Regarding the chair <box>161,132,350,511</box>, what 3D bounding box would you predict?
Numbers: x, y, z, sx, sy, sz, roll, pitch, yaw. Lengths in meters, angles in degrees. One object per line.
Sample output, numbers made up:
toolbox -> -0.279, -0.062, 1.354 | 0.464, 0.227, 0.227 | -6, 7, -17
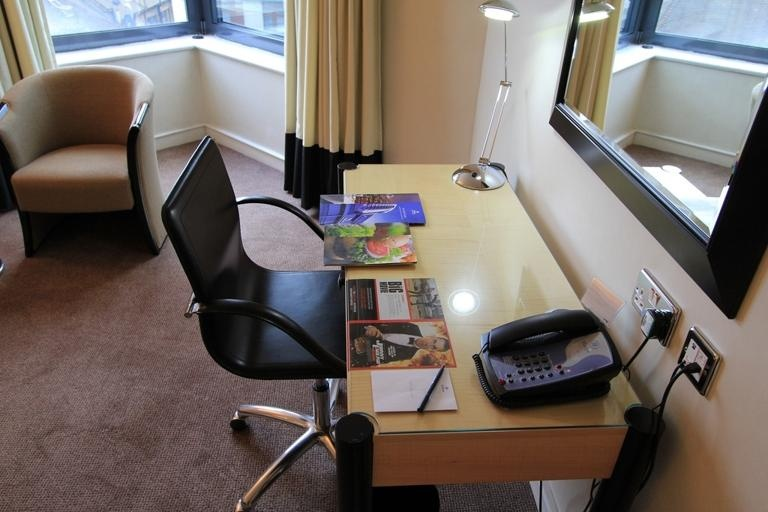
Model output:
chair -> -0.455, 0.256, 2.174 | 0.592, 1.238, 0.889 | -1, 33, -5

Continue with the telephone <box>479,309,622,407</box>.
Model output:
telephone -> 0.481, 0.320, 1.640 | 0.360, 0.155, 0.266 | -7, 47, 2

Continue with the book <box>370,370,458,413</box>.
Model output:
book -> 0.088, 0.403, 1.640 | 0.249, 0.040, 0.135 | 1, 33, -3

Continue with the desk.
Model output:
desk -> 0.325, 0.629, 2.222 | 0.834, 0.729, 1.581 | -5, 45, -3
